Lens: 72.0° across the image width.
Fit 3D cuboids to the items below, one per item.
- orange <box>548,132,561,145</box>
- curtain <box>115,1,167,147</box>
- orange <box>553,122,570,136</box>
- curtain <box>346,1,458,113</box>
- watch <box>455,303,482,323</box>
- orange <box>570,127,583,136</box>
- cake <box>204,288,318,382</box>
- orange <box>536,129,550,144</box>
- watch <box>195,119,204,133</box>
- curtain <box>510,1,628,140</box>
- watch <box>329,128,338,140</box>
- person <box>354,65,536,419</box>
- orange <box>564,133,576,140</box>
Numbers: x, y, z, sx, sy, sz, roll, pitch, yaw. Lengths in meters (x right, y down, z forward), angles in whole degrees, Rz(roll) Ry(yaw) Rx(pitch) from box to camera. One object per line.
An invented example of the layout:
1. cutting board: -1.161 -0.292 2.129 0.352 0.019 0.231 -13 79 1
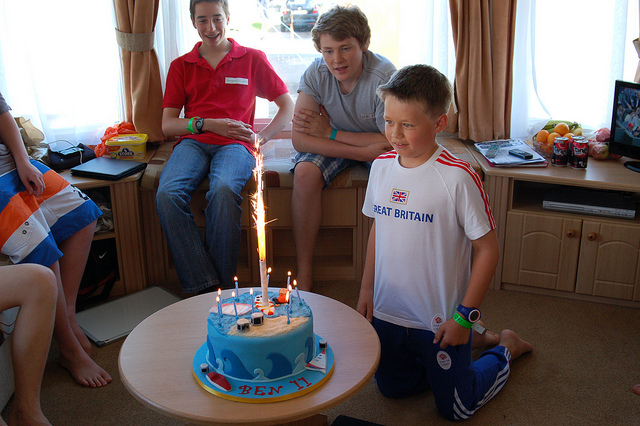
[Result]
1. orange: 1.567 -0.502 2.955 0.102 0.062 0.056 -16 25 -33
2. curtain: -1.273 -0.994 3.184 0.327 0.988 0.241 -7 20 -16
3. orange: 1.635 -0.569 2.977 0.090 0.084 0.081 11 -26 0
4. curtain: 0.695 -1.324 3.414 0.766 0.589 0.181 10 23 27
5. watch: 0.597 0.397 1.806 0.099 0.066 0.092 26 -14 -27
6. orange: 1.763 -0.568 3.015 0.064 0.049 0.058 -18 20 -41
7. cake: -0.236 0.424 1.692 0.391 0.269 0.415 3 12 -1
8. orange: 1.501 -0.517 2.969 0.073 0.099 0.076 3 -9 -14
9. watch: -0.810 -0.594 2.973 0.048 0.083 0.072 6 3 3
10. curtain: 1.809 -1.042 3.251 0.755 0.978 0.196 3 20 12
11. watch: 0.091 -0.525 2.937 0.047 0.058 0.045 -1 20 1
12. person: 0.494 0.184 1.929 0.695 1.554 0.408 9 22 26
13. orange: 1.663 -0.518 2.954 0.061 0.046 0.076 -19 11 -33
